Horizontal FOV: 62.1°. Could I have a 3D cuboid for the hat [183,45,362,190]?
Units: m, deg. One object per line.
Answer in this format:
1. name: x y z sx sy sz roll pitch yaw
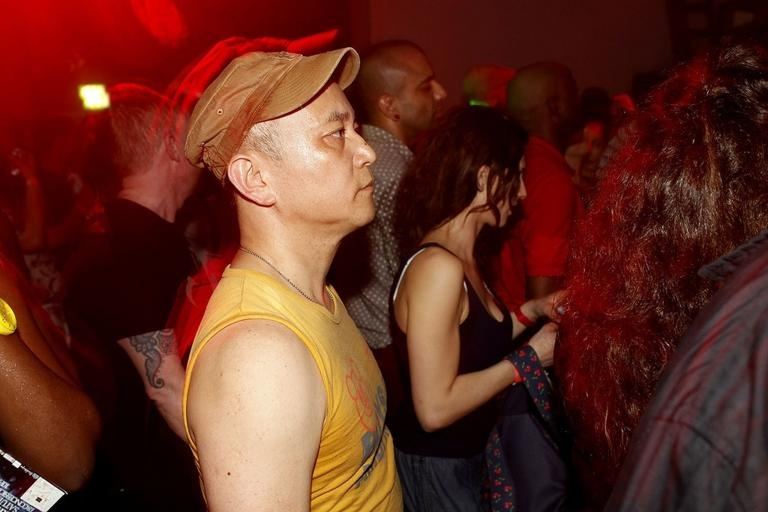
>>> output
1. hat: -0.392 -0.515 2.286 0.292 0.579 0.380 46 15 -13
